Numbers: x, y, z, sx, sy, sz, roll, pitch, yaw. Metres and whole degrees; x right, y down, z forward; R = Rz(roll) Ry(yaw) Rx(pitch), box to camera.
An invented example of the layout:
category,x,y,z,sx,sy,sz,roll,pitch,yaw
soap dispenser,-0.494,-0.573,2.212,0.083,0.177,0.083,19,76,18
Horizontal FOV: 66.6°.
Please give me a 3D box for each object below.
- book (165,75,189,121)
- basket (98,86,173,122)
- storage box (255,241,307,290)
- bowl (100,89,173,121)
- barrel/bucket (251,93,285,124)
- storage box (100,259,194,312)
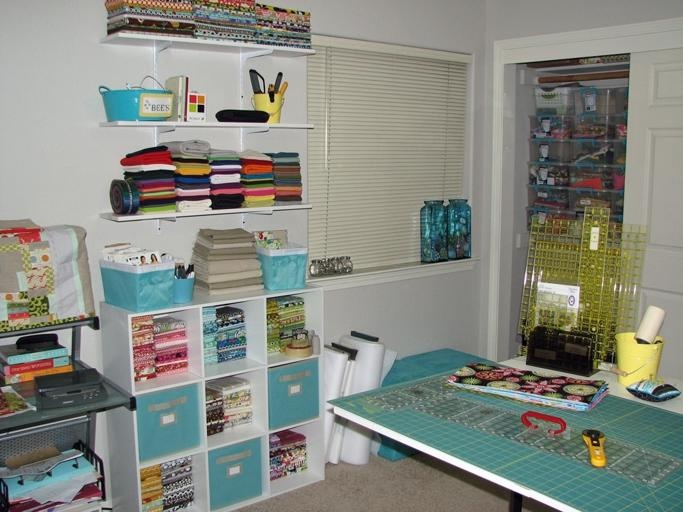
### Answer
category,x,y,z,sx,sy,sz,roll,pitch,yaw
book,-0.917,-0.872,2.901,0.146,0.231,0.253,-4,13,-29
basket,-1.104,-0.797,2.812,0.317,0.137,0.229,2,9,8
storage box,-0.354,0.058,3.322,0.304,0.262,0.289,-3,7,-31
bowl,-1.156,-0.833,2.900,0.313,0.157,0.398,7,17,23
barrel/bucket,-0.455,-0.920,3.268,0.208,0.145,0.196,1,9,0
storage box,-1.076,0.118,2.863,0.352,0.197,0.357,5,6,41
